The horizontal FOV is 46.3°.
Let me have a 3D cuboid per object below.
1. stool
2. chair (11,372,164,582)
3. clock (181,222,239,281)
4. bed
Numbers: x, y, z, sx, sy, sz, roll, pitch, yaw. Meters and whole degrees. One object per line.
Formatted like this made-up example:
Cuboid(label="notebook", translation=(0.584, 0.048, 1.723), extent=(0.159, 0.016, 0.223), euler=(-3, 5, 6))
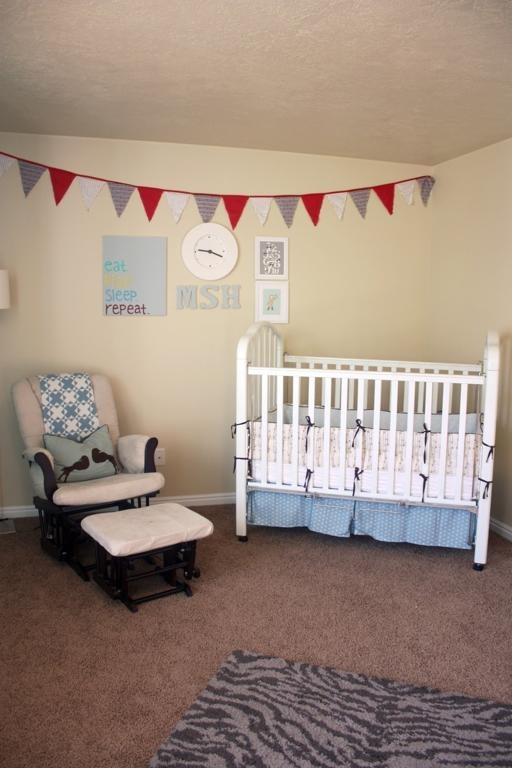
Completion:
Cuboid(label="stool", translation=(-0.466, 0.728, 2.526), extent=(0.468, 0.315, 0.417), euler=(-2, 6, -31))
Cuboid(label="chair", translation=(-0.920, 0.386, 3.115), extent=(0.719, 1.064, 0.926), euler=(-4, 5, -35))
Cuboid(label="clock", translation=(-0.288, -0.795, 3.570), extent=(0.317, 0.355, 0.037), euler=(2, 3, -14))
Cuboid(label="bed", translation=(0.537, 0.477, 3.307), extent=(1.572, 1.464, 1.057), euler=(2, 10, 14))
